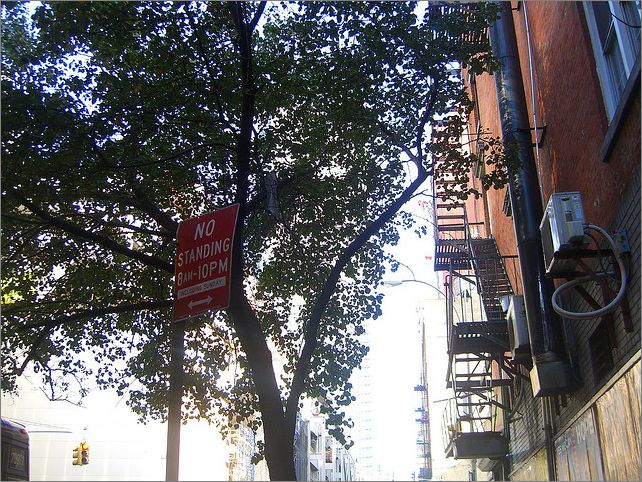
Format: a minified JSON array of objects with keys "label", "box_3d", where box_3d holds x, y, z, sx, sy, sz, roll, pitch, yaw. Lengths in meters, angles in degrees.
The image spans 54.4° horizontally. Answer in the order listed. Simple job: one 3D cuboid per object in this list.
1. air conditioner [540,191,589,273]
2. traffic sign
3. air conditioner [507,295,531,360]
[{"label":"air conditioner","box_3d":[4.146,-0.068,10.882,0.347,1.054,1.182,-1,-30,5]},{"label":"traffic sign","box_3d":[-2.006,0.348,10.660,1.144,2.015,0.338,-9,-21,20]},{"label":"air conditioner","box_3d":[4.488,1.989,14.264,0.558,1.157,1.268,-3,-28,4]}]
